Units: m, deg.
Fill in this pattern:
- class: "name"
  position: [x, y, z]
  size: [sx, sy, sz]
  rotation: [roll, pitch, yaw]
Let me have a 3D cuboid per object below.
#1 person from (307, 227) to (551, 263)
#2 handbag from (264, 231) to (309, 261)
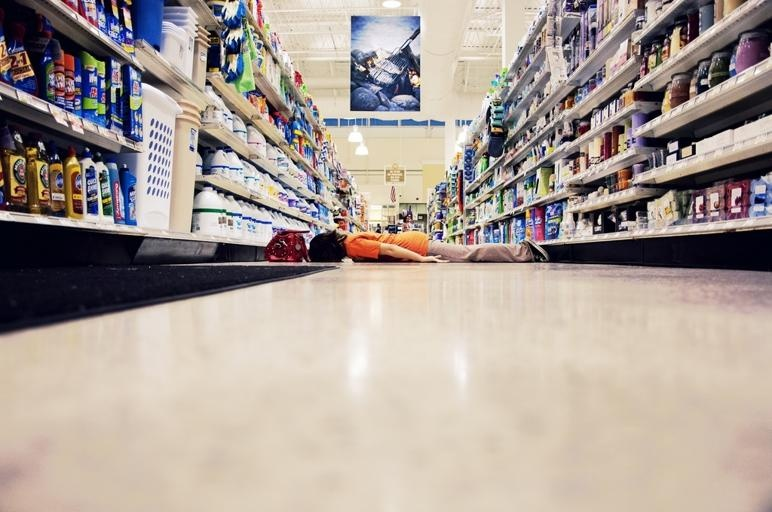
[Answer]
- class: "person"
  position: [0.505, -0.110, 4.949]
  size: [1.677, 0.344, 0.672]
  rotation: [2, -1, -2]
- class: "handbag"
  position: [-0.835, -0.073, 4.183]
  size: [0.316, 0.244, 0.242]
  rotation: [1, -2, -1]
